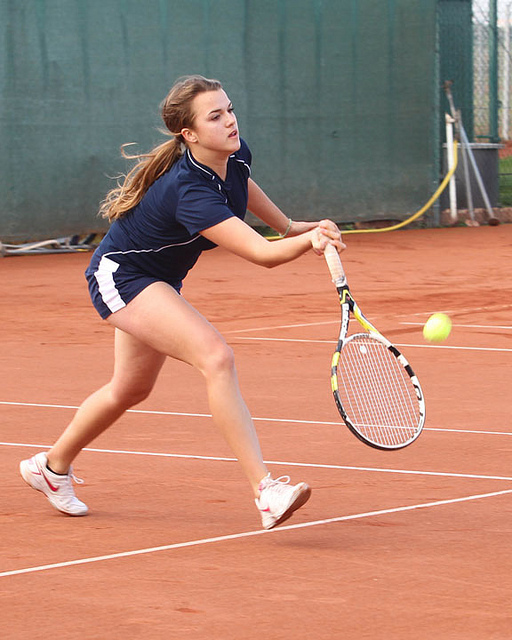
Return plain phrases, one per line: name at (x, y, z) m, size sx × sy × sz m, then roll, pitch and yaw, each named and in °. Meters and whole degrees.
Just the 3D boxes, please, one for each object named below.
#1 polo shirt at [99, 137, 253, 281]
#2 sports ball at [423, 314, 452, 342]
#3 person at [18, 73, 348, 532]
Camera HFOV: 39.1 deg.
polo shirt at (-0.275, -0.381, 2.310) m, size 0.512 × 0.346 × 0.455 m, roll -1°, pitch 1°, yaw -3°
sports ball at (0.924, 0.034, 3.694) m, size 0.127 × 0.137 × 0.126 m, roll -2°, pitch 1°, yaw 0°
person at (-0.149, -0.071, 2.582) m, size 1.121 × 1.088 × 0.897 m, roll -1°, pitch 1°, yaw 26°
